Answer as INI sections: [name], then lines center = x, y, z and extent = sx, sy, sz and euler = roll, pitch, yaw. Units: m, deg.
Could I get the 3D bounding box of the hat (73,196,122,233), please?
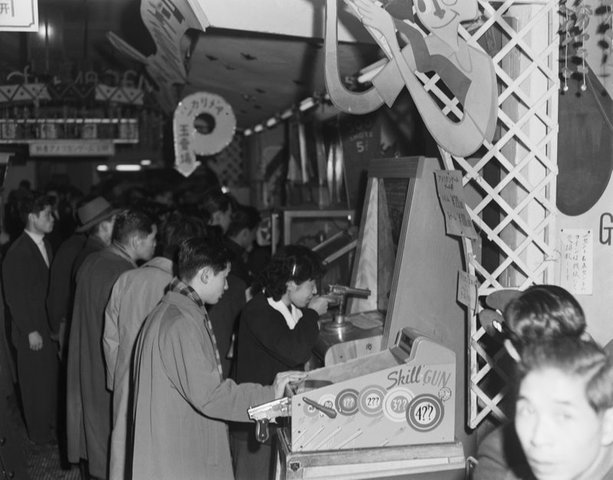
[hat]
center = -1.609, -0.181, 8.269
extent = 0.291, 0.108, 0.261
euler = -42, 14, -27

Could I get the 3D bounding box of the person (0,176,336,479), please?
[person]
center = -0.716, 0.651, 6.585
extent = 0.759, 1.645, 1.056
euler = 4, -5, -40
